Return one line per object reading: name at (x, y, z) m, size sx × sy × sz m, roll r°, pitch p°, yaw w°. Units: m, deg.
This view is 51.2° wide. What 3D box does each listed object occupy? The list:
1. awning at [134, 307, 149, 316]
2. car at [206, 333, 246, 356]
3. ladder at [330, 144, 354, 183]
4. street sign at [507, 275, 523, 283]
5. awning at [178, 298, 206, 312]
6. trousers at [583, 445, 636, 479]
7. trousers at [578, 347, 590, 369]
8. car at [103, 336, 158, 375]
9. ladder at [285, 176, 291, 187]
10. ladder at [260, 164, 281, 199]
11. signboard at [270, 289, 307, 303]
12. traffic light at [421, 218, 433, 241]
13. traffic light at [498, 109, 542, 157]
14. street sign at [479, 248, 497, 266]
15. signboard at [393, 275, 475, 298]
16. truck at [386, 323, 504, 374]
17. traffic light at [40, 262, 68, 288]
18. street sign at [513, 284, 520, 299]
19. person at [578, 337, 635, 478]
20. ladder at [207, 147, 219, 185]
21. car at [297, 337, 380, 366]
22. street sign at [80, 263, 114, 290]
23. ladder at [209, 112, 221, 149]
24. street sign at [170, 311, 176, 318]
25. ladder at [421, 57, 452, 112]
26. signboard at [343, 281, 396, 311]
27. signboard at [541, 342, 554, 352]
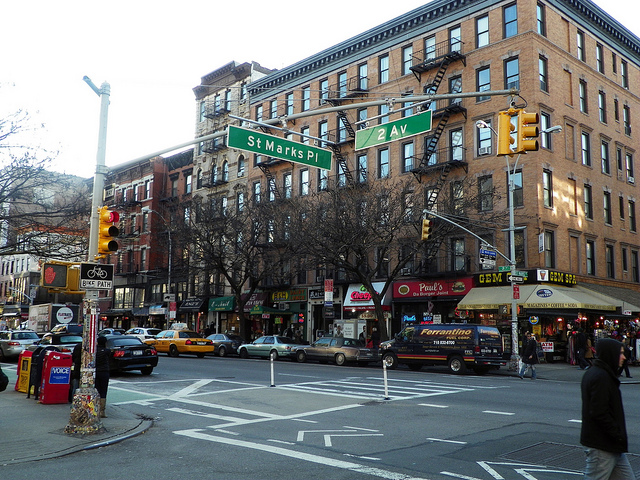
awning at (-16.954, 6.825, 63.778) m, size 0.727 × 0.706 × 2.314 m, roll 10°, pitch -14°, yaw -38°
car at (-6.325, 6.811, 43.620) m, size 2.719 × 0.819 × 1.144 m, roll -2°, pitch -5°, yaw 43°
ladder at (1.516, -5.242, 46.001) m, size 1.553 × 2.848 × 1.182 m, roll -5°, pitch -13°, yaw 25°
street sign at (9.643, 1.907, 33.063) m, size 0.728 × 0.556 × 0.120 m, roll 2°, pitch 9°, yaw -18°
awning at (-11.073, 5.585, 57.905) m, size 1.146 × 1.232 × 3.413 m, roll 8°, pitch -14°, yaw -33°
trousers at (4.827, 3.754, 11.205) m, size 0.730 × 0.543 × 0.333 m, roll -3°, pitch -12°, yaw 17°
trousers at (12.512, 5.633, 31.846) m, size 0.337 × 0.908 × 0.705 m, roll -4°, pitch -13°, yaw 21°
car at (-7.810, 4.775, 27.719) m, size 1.869 × 1.263 × 4.100 m, roll 1°, pitch -1°, yaw -32°
ladder at (-2.625, -4.586, 52.487) m, size 0.189 × 0.686 × 0.795 m, roll -1°, pitch 12°, yaw -33°
ladder at (-3.907, -4.675, 52.765) m, size 0.619 × 3.073 × 1.989 m, roll 1°, pitch -16°, yaw 14°
signboard at (-2.453, 4.274, 51.322) m, size 3.881 × 1.010 × 0.123 m, roll -9°, pitch -15°, yaw 40°
traffic light at (4.387, -0.490, 27.651) m, size 0.375 × 1.028 × 1.175 m, roll -1°, pitch -12°, yaw 6°
traffic light at (4.842, -2.653, 16.566) m, size 1.047 × 1.026 × 0.820 m, roll 2°, pitch -2°, yaw -1°
street sign at (7.929, 0.789, 31.868) m, size 0.479 × 0.823 × 1.443 m, roll -5°, pitch -13°, yaw 26°
signboard at (7.256, 3.049, 41.859) m, size 5.417 × 1.407 × 2.018 m, roll 0°, pitch -6°, yaw -30°
truck at (5.976, 5.038, 32.016) m, size 5.332 × 1.896 × 2.557 m, roll -3°, pitch -10°, yaw 41°
traffic light at (-6.359, 0.843, 15.977) m, size 0.641 × 0.573 × 0.333 m, roll 4°, pitch -6°, yaw -24°
street sign at (9.234, 2.432, 31.665) m, size 0.193 × 0.698 × 0.440 m, roll -8°, pitch -15°, yaw 37°
person at (4.772, 2.841, 11.270) m, size 0.792 × 2.324 × 0.586 m, roll -3°, pitch -12°, yaw 17°
ladder at (-9.614, -6.721, 60.064) m, size 0.555 × 3.079 × 0.858 m, roll 4°, pitch -12°, yaw -15°
car at (1.048, 5.963, 35.974) m, size 3.704 × 0.999 × 1.749 m, roll -3°, pitch -8°, yaw 38°
street sign at (-5.413, 0.874, 16.031) m, size 0.731 × 0.493 × 0.055 m, roll 1°, pitch 2°, yaw -37°
ladder at (-9.510, -9.795, 60.042) m, size 0.861 × 3.031 × 2.200 m, roll 3°, pitch -12°, yaw -10°
street sign at (-11.252, 5.671, 50.850) m, size 0.520 × 0.617 × 0.671 m, roll 3°, pitch -11°, yaw -4°
ladder at (7.525, -10.311, 42.049) m, size 1.485 × 2.111 × 1.668 m, roll 0°, pitch -12°, yaw 5°
signboard at (3.403, 3.704, 45.437) m, size 3.089 × 2.111 × 1.859 m, roll 1°, pitch -6°, yaw -32°
signboard at (12.364, 5.863, 36.557) m, size 0.624 × 0.396 × 0.080 m, roll 2°, pitch -4°, yaw -26°
